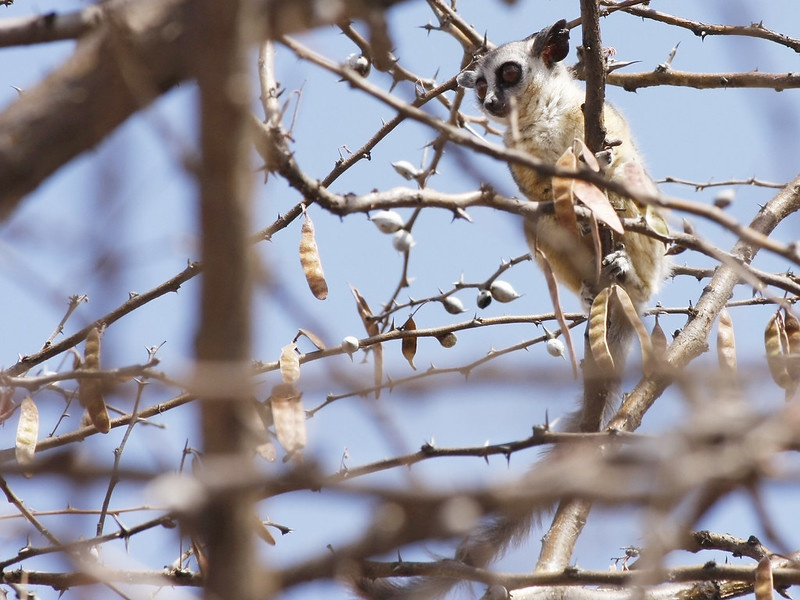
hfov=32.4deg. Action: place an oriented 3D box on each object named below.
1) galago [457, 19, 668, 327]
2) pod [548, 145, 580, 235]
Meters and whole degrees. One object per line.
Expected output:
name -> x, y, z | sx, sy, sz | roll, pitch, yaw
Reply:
galago -> 0.857, -0.847, 7.200 | 0.886, 1.024, 1.827 | 1, -77, 16
pod -> 0.527, -0.328, 4.318 | 0.094, 0.098, 0.313 | -5, -76, -13
